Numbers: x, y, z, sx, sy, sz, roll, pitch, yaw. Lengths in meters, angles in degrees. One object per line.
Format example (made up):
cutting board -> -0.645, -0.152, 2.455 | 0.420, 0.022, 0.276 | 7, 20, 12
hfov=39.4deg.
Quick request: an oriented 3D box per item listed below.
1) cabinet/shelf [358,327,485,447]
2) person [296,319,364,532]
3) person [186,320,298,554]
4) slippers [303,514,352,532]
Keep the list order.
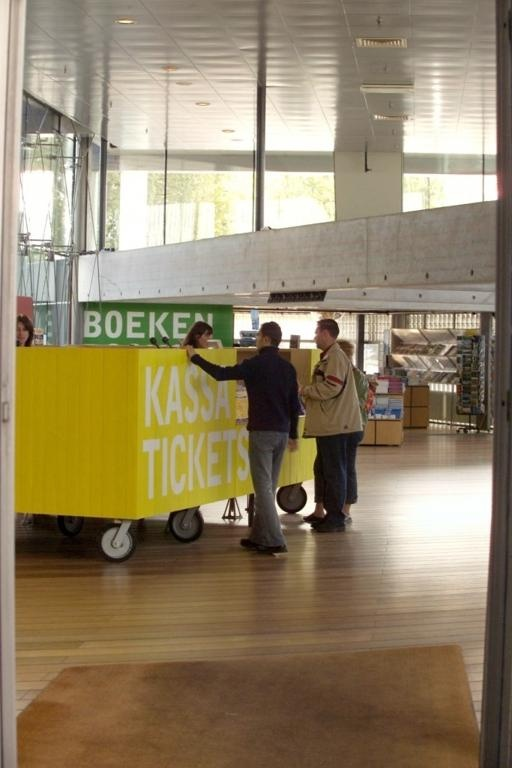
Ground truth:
cabinet/shelf -> 4.179, -0.195, 17.103 | 1.646, 2.809, 2.686 | 2, 2, -20
person -> 0.639, 0.351, 5.990 | 0.501, 1.784, 0.595 | 0, 2, 9
person -> 0.019, 0.381, 5.211 | 0.863, 1.670, 0.416 | -3, 3, -43
slippers -> 0.613, 1.171, 6.050 | 0.392, 0.194, 0.150 | 6, 2, 7
